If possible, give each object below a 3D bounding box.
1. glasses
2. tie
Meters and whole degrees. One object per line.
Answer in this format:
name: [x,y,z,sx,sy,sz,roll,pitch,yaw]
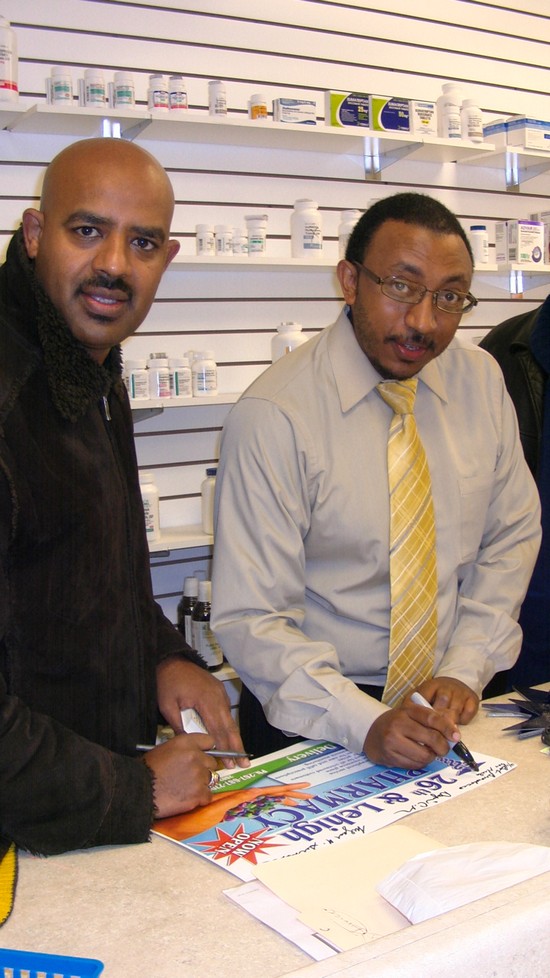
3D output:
glasses: [0.292,-0.380,1.542,0.245,0.110,0.132,-1,1,-14]
tie: [0.250,0.092,1.536,0.101,0.613,0.209,-1,1,9]
